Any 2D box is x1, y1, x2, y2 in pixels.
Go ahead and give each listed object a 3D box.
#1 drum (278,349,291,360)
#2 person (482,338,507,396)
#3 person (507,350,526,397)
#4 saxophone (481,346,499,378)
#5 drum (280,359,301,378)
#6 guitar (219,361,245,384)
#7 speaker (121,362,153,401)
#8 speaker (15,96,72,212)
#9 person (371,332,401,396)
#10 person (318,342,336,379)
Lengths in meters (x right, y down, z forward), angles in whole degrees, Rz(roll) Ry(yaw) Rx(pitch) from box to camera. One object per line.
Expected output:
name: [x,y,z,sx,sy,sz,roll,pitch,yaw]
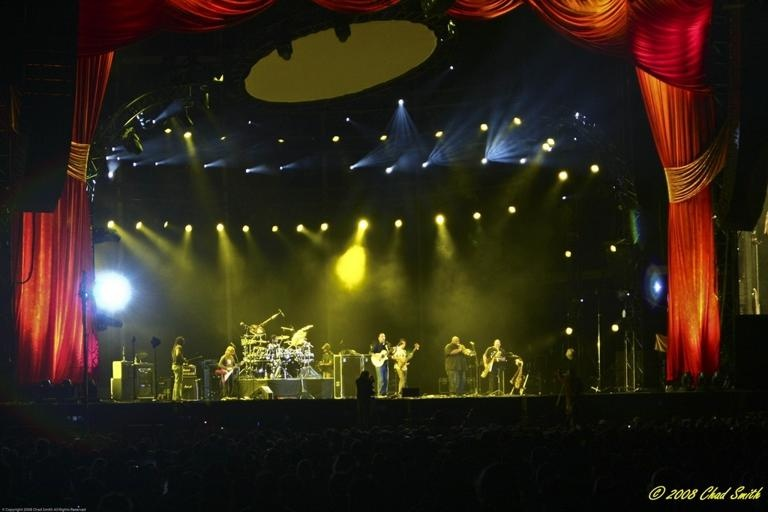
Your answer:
drum: [-2.511,2.506,21.039,0.326,0.325,0.140,2,-16,-9]
person: [2.920,2.977,21.754,0.638,1.418,1.067,-2,-16,6]
person: [3.573,3.158,21.531,0.639,0.432,1.387,9,-50,13]
saxophone: [2.735,2.783,21.605,0.224,0.727,0.582,19,6,34]
drum: [-2.351,2.863,20.938,0.306,0.456,0.536,-6,-16,19]
guitar: [-3.768,2.920,20.503,0.204,0.522,0.535,-13,-20,38]
speaker: [-5.958,3.051,20.079,0.869,1.106,0.860,4,-12,-37]
speaker: [-5.778,-1.750,14.026,0.813,1.719,1.100,7,-17,-24]
person: [0.000,2.817,21.541,0.777,1.542,0.384,2,5,16]
person: [-1.460,2.767,21.512,0.525,0.933,0.498,-5,17,-31]
